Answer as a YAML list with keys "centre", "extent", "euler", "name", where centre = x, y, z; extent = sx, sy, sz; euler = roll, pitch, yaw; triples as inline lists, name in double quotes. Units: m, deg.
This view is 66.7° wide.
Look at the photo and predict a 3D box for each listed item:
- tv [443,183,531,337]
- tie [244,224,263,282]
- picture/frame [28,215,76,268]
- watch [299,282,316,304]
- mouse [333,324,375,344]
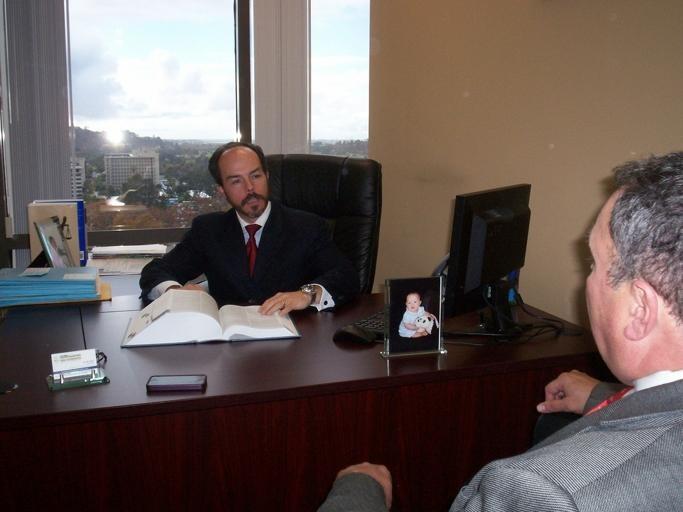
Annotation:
- centre: [0.504, 0.029, 1.755]
  extent: [0.178, 0.512, 0.500]
  euler: [9, 15, 41]
  name: "tv"
- centre: [-0.400, -0.003, 2.467]
  extent: [0.078, 0.289, 0.205]
  euler: [-7, 52, -10]
  name: "tie"
- centre: [-1.335, -0.070, 2.396]
  extent: [0.122, 0.218, 0.208]
  euler: [-22, 9, -5]
  name: "picture/frame"
- centre: [-0.129, 0.157, 2.003]
  extent: [0.072, 0.084, 0.054]
  euler: [-4, 0, 41]
  name: "watch"
- centre: [0.044, 0.250, 1.658]
  extent: [0.102, 0.035, 0.059]
  euler: [-2, 6, 14]
  name: "mouse"
